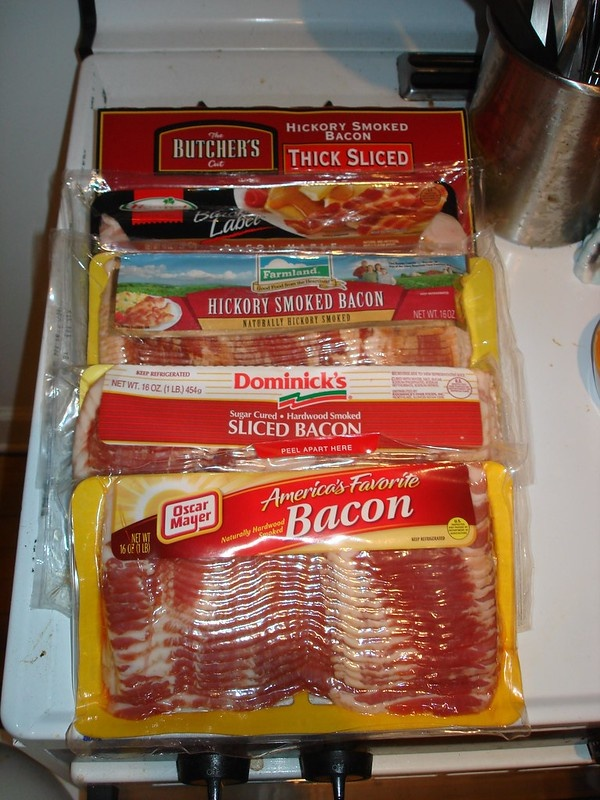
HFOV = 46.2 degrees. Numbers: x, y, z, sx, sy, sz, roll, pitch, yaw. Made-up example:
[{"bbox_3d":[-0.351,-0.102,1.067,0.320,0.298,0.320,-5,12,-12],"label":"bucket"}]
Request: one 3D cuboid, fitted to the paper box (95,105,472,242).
[{"bbox_3d":[-0.014,-0.261,0.816,0.441,0.055,0.199,-3,58,-2],"label":"paper box"}]
